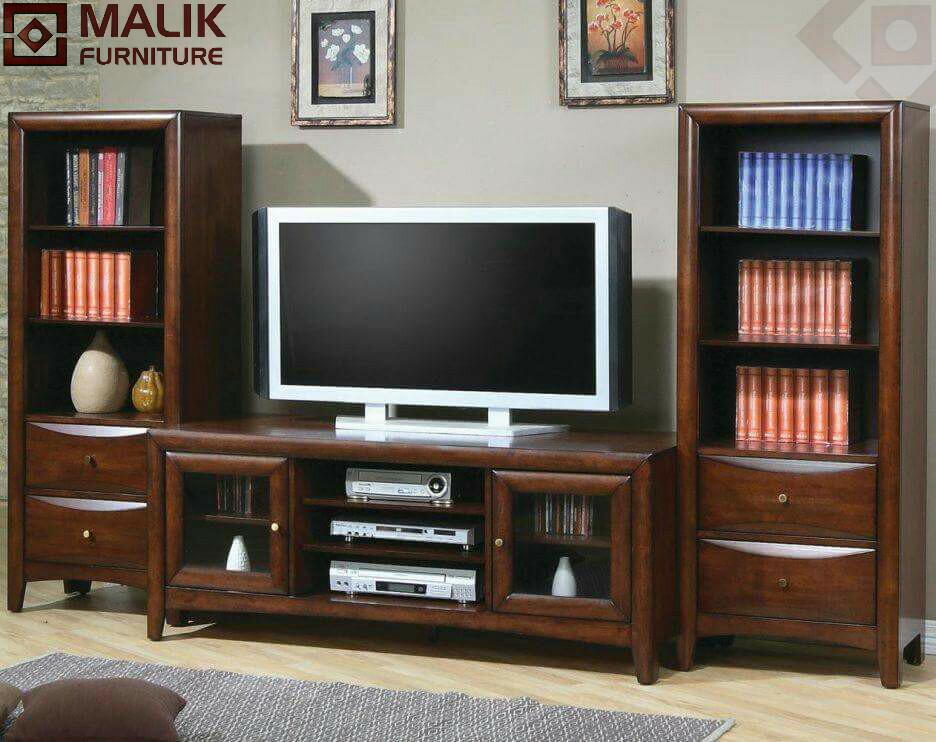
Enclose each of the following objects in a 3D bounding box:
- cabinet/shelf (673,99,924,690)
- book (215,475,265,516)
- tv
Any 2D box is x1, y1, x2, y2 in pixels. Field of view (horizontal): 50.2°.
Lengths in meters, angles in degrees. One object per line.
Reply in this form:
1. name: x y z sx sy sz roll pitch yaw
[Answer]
1. cabinet/shelf: 1.136 0.059 3.359 0.895 1.853 0.458 1 4 10
2. book: -0.799 0.435 3.537 0.157 0.130 0.081 2 5 14
3. tv: -0.084 -0.162 3.728 1.456 0.808 0.391 3 7 27
